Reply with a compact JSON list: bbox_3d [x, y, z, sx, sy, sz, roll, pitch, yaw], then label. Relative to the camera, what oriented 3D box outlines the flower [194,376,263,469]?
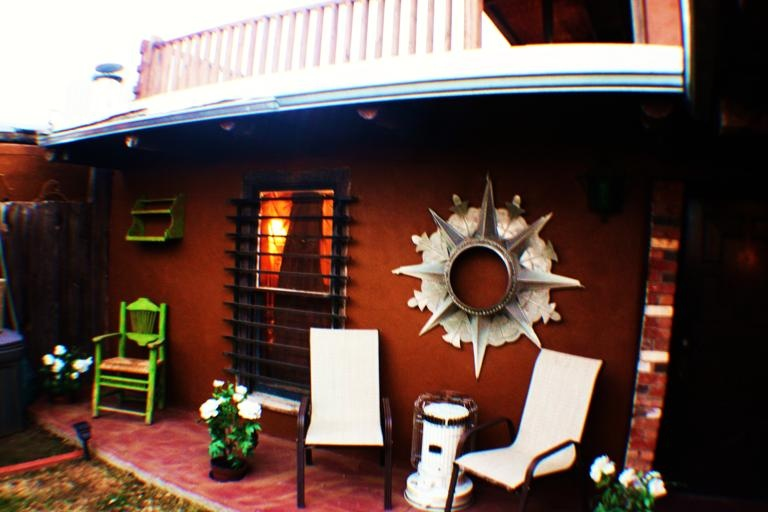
[{"bbox_3d":[-1.793,1.938,7.426,0.769,1.047,0.679,3,5,0],"label":"flower"}]

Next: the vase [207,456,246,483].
[{"bbox_3d":[-1.798,2.468,7.256,0.282,0.111,0.277,3,-5,2],"label":"vase"}]

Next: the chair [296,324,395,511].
[{"bbox_3d":[-0.462,1.818,7.281,1.034,1.875,0.935,4,1,-7],"label":"chair"}]

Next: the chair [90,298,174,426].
[{"bbox_3d":[-3.392,1.408,8.492,0.875,1.469,0.707,4,7,0],"label":"chair"}]

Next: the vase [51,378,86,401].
[{"bbox_3d":[-4.373,1.869,8.688,0.300,0.233,0.306,6,-6,-27],"label":"vase"}]

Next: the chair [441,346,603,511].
[{"bbox_3d":[1.612,1.831,6.816,1.288,1.753,0.829,4,1,-34],"label":"chair"}]

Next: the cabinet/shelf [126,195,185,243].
[{"bbox_3d":[-3.184,-0.530,8.748,0.699,0.609,0.373,1,3,22],"label":"cabinet/shelf"}]
